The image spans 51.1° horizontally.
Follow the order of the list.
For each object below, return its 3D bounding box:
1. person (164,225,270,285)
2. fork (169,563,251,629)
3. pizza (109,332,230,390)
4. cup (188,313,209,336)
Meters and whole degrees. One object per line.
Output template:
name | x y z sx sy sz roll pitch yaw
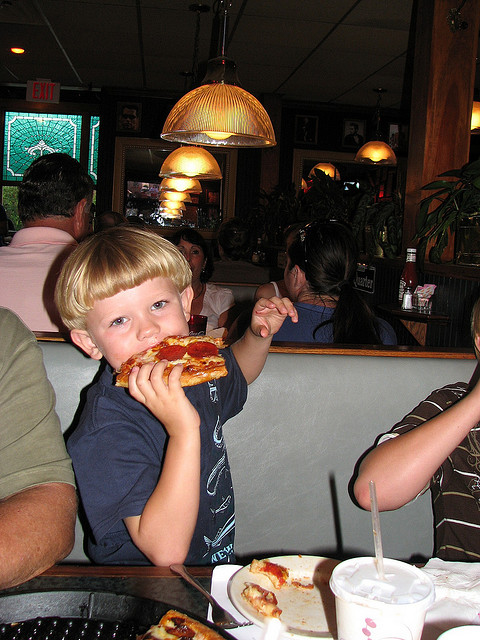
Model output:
person | -0.345 -0.633 5.519 0.385 0.489 2.265 17 -6 -26
fork | -0.035 0.324 0.588 0.020 0.015 0.143 -4 13 -41
pizza | -0.091 0.073 0.987 0.128 0.070 0.313 13 13 34
cup | -0.151 0.013 1.804 0.081 0.084 0.082 3 -6 0
